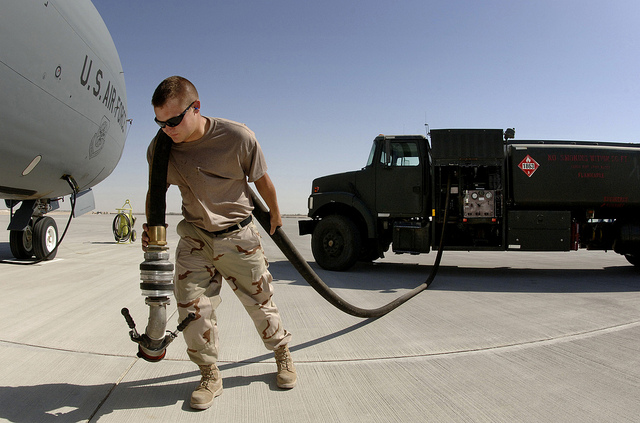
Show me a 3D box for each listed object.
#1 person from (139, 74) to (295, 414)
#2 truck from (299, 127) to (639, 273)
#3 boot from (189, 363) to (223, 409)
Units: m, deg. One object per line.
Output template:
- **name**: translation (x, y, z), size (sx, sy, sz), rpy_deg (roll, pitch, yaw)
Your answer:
- **person**: translation (-0.863, 0.243, 2.949), size (1.135, 2.621, 0.515), rpy_deg (-1, 3, -27)
- **truck**: translation (4.326, -0.365, 8.665), size (9.868, 3.702, 2.962), rpy_deg (1, 0, 6)
- **boot**: translation (-0.945, 1.415, 2.904), size (0.158, 0.300, 0.419), rpy_deg (-7, -11, 6)
